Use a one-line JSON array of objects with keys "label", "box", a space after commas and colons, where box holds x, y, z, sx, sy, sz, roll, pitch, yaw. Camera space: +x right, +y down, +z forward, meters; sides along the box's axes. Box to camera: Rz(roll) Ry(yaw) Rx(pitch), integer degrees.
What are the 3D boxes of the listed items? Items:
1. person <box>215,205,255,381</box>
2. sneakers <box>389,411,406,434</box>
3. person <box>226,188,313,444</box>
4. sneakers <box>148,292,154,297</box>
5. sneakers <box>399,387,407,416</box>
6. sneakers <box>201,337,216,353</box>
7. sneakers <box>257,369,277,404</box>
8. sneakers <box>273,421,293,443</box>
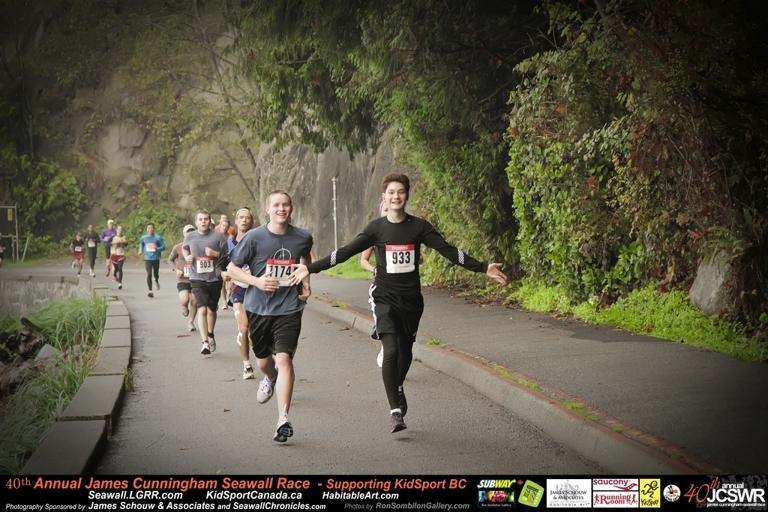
[{"label": "person", "box": [-2.364, 0.576, 10.205, 0.686, 2.627, 0.852, -1, 0, 4]}, {"label": "sneakers", "box": [0.099, 1.858, 7.102, 0.196, 0.242, 0.217, -5, -35, -9]}, {"label": "person", "box": [-1.294, 0.628, 7.475, 0.943, 2.750, 1.232, -6, 8, -28]}, {"label": "sneakers", "box": [-7.134, 1.187, 19.107, 0.142, 0.213, 0.206, -4, 1, -21]}, {"label": "sneakers", "box": [0.164, 1.703, 7.308, 0.109, 0.361, 0.145, -9, -13, 21]}, {"label": "sneakers", "box": [-3.086, 1.546, 10.920, 0.250, 0.285, 0.232, -6, 8, -24]}, {"label": "sneakers", "box": [-1.504, 1.643, 7.904, 0.174, 0.511, 0.195, 7, 4, 10]}, {"label": "sneakers", "box": [-1.134, 1.959, 6.939, 0.130, 0.151, 0.317, 12, -44, -20]}]
